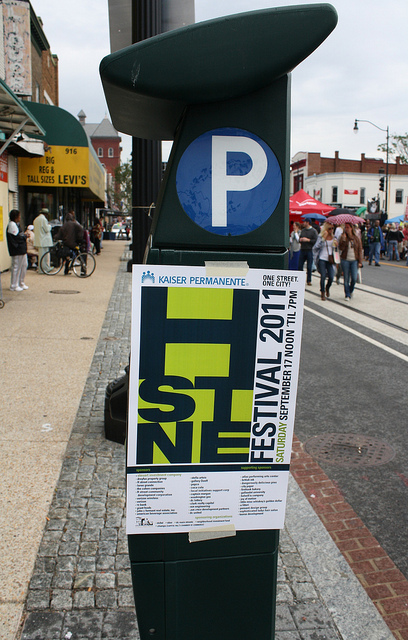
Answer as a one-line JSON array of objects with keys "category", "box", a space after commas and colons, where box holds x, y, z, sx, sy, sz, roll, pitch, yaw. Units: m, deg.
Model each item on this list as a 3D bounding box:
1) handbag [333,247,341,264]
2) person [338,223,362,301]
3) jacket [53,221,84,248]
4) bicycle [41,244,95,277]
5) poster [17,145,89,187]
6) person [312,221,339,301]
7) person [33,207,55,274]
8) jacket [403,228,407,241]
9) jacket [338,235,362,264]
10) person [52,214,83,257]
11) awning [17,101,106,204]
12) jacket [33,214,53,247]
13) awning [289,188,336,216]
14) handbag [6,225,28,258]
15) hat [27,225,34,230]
[{"category": "handbag", "box": [2.747, -1.336, 12.475, 0.160, 0.330, 0.304, 5, 9, 14]}, {"category": "person", "box": [3.046, -1.193, 12.668, 0.497, 1.591, 0.785, 5, 8, 13]}, {"category": "jacket", "box": [-3.456, -2.276, 15.576, 0.884, 0.890, 0.554, -3, 34, -13]}, {"category": "bicycle", "box": [-3.704, -1.600, 16.477, 1.405, 0.876, 0.729, -3, 27, 1]}, {"category": "poster", "box": [-4.233, -4.295, 17.096, 1.630, 0.894, 1.186, 0, 12, -5]}, {"category": "person", "box": [2.632, -1.258, 12.836, 0.574, 1.648, 0.583, 0, 5, -25]}, {"category": "person", "box": [-4.121, -2.110, 15.569, 0.457, 1.515, 0.554, -5, 9, -41]}, {"category": "jacket", "box": [10.080, -4.326, 30.208, 0.162, 0.565, 2.309, 5, 9, 17]}, {"category": "jacket", "box": [3.014, -1.466, 12.425, 0.497, 0.575, 0.367, 5, 8, 14]}, {"category": "person", "box": [-3.445, -2.156, 15.580, 0.603, 1.115, 0.949, 1, 9, -16]}, {"category": "awning", "box": [-4.707, -5.528, 18.759, 2.237, 2.147, 4.364, -3, 19, -10]}, {"category": "jacket", "box": [-4.099, -2.259, 15.333, 0.424, 0.834, 0.588, 1, 8, -15]}, {"category": "awning", "box": [4.692, -5.103, 26.299, 1.810, 1.289, 4.056, 5, 9, 9]}, {"category": "handbag", "box": [-3.617, -1.514, 11.758, 0.407, 0.781, 0.603, -9, 15, -23]}, {"category": "hat", "box": [-4.654, -2.475, 16.136, 0.166, 0.170, 0.173, -1, 9, -8]}]
